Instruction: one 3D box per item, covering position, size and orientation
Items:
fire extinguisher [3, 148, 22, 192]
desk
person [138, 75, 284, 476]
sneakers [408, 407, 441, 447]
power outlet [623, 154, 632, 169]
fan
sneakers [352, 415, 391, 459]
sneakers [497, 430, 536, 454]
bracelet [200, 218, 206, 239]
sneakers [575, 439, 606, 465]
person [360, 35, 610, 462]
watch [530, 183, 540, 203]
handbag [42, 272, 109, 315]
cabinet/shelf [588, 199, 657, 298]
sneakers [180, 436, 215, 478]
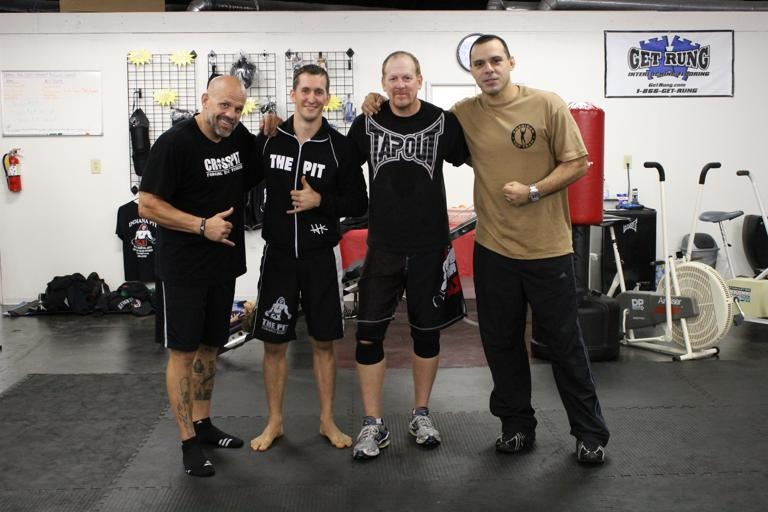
[{"bbox_3d":[-4.756,-1.078,7.109,0.216,0.553,0.120,0,11,4],"label":"fire extinguisher"},{"bbox_3d":[0.216,0.020,6.159,1.874,1.080,1.338,-1,1,0],"label":"desk"},{"bbox_3d":[-1.005,0.093,3.277,0.684,2.242,0.496,-7,12,-29],"label":"person"},{"bbox_3d":[0.264,1.083,3.555,0.180,0.154,0.372,-4,1,-10],"label":"sneakers"},{"bbox_3d":[3.205,-1.242,7.324,0.101,0.156,0.024,0,11,2],"label":"power outlet"},{"bbox_3d":[2.806,0.535,5.080,0.195,1.004,0.931,3,-2,-30],"label":"fan"},{"bbox_3d":[-0.067,1.119,3.368,0.133,0.136,0.303,-4,-8,14],"label":"sneakers"},{"bbox_3d":[0.794,1.132,3.392,0.265,0.105,0.106,4,-5,-28],"label":"sneakers"},{"bbox_3d":[-1.038,-0.158,3.198,0.041,0.103,0.056,-5,11,-20],"label":"bracelet"},{"bbox_3d":[1.214,1.155,3.284,0.087,0.094,0.207,0,3,14],"label":"sneakers"},{"bbox_3d":[0.857,-0.041,3.302,0.897,2.449,0.533,0,11,7],"label":"person"},{"bbox_3d":[0.848,-0.351,3.171,0.066,0.092,0.090,-6,29,7],"label":"watch"},{"bbox_3d":[-3.722,0.436,6.738,0.538,0.280,0.650,0,1,-12],"label":"handbag"},{"bbox_3d":[3.053,-0.058,7.024,0.872,1.119,0.822,-11,17,-17],"label":"cabinet/shelf"},{"bbox_3d":[-1.082,1.171,3.204,0.115,0.127,0.319,-1,-4,-30],"label":"sneakers"}]
